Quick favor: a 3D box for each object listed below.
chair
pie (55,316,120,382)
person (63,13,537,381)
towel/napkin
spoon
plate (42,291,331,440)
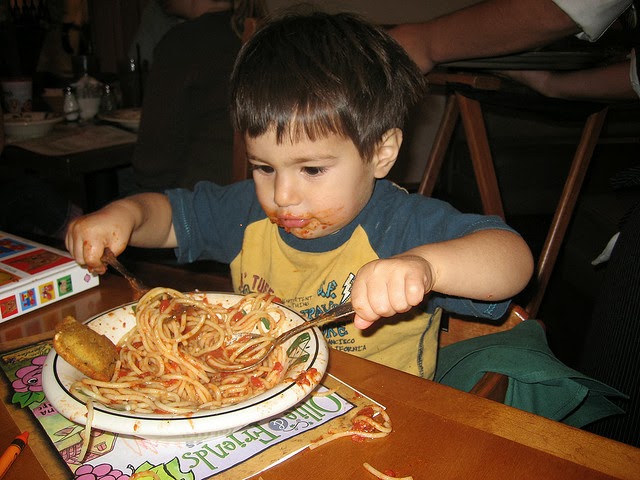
[{"bbox_3d":[0.345,0.270,1.233,0.243,0.278,0.215,9,18,32],"label":"chair"},{"bbox_3d":[-0.437,0.204,0.924,0.036,0.124,0.116,-39,21,9],"label":"pie"},{"bbox_3d":[-0.110,0.003,1.212,0.725,1.111,0.835,-1,17,-25],"label":"person"},{"bbox_3d":[0.461,0.306,1.122,0.355,0.124,0.288,13,24,40],"label":"towel/napkin"},{"bbox_3d":[-0.095,0.207,1.040,0.337,0.048,0.062,-20,34,22],"label":"spoon"},{"bbox_3d":[-0.254,0.221,0.935,0.479,0.096,0.426,-8,24,-22],"label":"plate"}]
